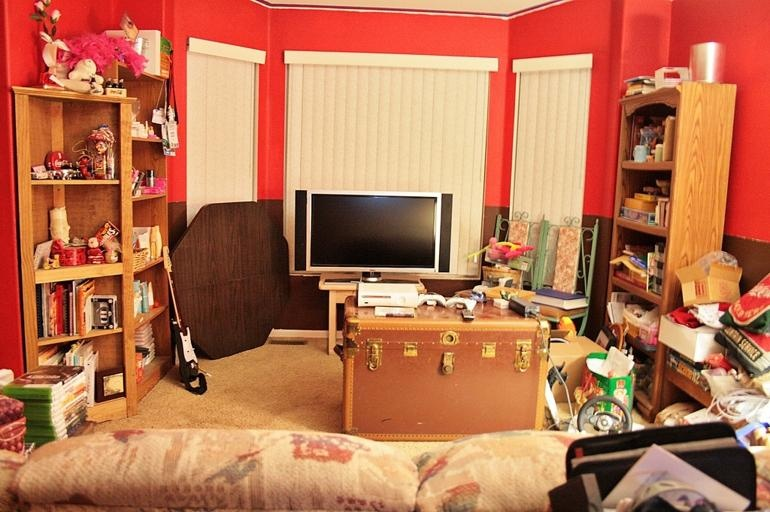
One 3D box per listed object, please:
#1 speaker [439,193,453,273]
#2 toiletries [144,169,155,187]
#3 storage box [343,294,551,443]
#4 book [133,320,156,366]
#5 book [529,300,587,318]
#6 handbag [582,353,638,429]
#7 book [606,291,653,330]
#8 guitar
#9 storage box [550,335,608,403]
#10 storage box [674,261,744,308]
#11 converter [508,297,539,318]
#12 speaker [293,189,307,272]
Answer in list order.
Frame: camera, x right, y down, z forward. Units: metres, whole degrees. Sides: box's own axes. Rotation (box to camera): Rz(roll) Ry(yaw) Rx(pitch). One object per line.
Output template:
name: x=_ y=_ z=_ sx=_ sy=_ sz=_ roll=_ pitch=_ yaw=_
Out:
speaker: x=0.527 y=-0.268 z=4.816 sx=0.118 sy=0.583 sz=0.082 roll=1 pitch=4 yaw=-14
toiletries: x=-1.890 y=-0.630 z=4.356 sx=0.076 sy=0.129 sz=0.102 roll=-5 pitch=12 yaw=-28
storage box: x=0.430 y=0.597 z=3.866 sx=1.166 sy=0.697 sz=0.884 roll=0 pitch=4 yaw=0
book: x=-2.012 y=0.737 z=4.545 sx=0.226 sy=0.290 sz=0.103 roll=-4 pitch=6 yaw=-4
book: x=1.549 y=0.475 z=4.722 sx=0.298 sy=0.068 sz=0.292 roll=-3 pitch=7 yaw=-41
handbag: x=1.567 y=0.943 z=3.739 sx=0.231 sy=0.389 sz=0.403 roll=2 pitch=6 yaw=17
book: x=1.970 y=0.430 z=4.415 sx=0.101 sy=0.281 sz=0.284 roll=-11 pitch=0 yaw=4
guitar: x=-1.659 y=0.487 z=4.457 sx=0.267 sy=1.109 sz=0.719 roll=-4 pitch=12 yaw=-22
storage box: x=1.384 y=0.829 z=3.893 sx=0.256 sy=0.324 sz=0.448 roll=18 pitch=18 yaw=33
storage box: x=2.120 y=0.183 z=3.624 sx=0.236 sy=0.167 sz=0.193 roll=31 pitch=36 yaw=18
converter: x=0.926 y=0.341 z=3.620 sx=0.104 sy=0.047 sz=0.177 roll=0 pitch=8 yaw=-10
speaker: x=-0.748 y=-0.225 z=4.883 sx=0.158 sy=0.737 sz=0.053 roll=8 pitch=13 yaw=35
